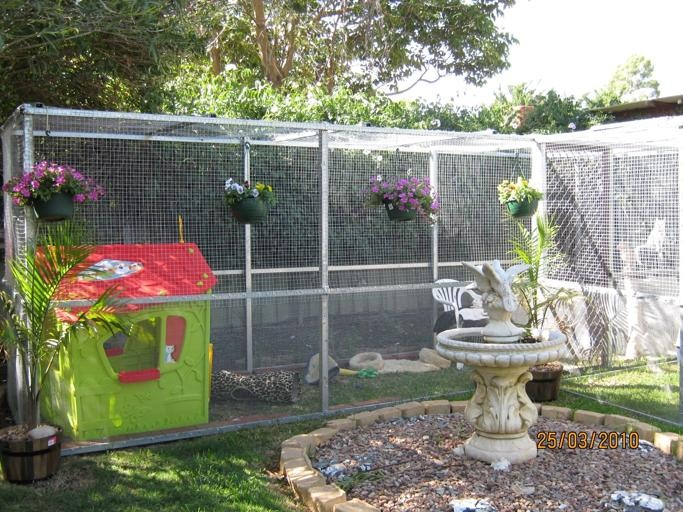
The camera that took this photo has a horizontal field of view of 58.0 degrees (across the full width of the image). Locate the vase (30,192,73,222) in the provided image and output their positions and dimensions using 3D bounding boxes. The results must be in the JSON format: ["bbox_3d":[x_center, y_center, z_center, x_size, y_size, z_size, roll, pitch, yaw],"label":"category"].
[{"bbox_3d":[-2.732,-0.446,5.881,0.276,0.182,0.278,-2,-1,-33],"label":"vase"}]

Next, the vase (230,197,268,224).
[{"bbox_3d":[-1.017,-0.485,6.714,0.283,0.208,0.291,-1,-1,35],"label":"vase"}]

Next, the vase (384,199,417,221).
[{"bbox_3d":[0.776,-0.578,8.098,0.270,0.180,0.279,-1,-2,30],"label":"vase"}]

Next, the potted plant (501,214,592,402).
[{"bbox_3d":[2.571,0.521,7.723,0.794,2.173,1.994,-4,2,16],"label":"potted plant"}]

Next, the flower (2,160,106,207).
[{"bbox_3d":[-2.722,-0.685,5.845,0.567,0.337,0.591,8,12,-4],"label":"flower"}]

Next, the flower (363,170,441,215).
[{"bbox_3d":[0.797,-0.802,8.110,0.622,0.388,0.642,2,6,-13],"label":"flower"}]

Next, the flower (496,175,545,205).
[{"bbox_3d":[2.245,-0.824,7.958,0.394,0.248,0.394,0,9,-13],"label":"flower"}]

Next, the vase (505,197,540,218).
[{"bbox_3d":[2.306,-0.603,7.914,0.252,0.155,0.256,-2,-10,-30],"label":"vase"}]
